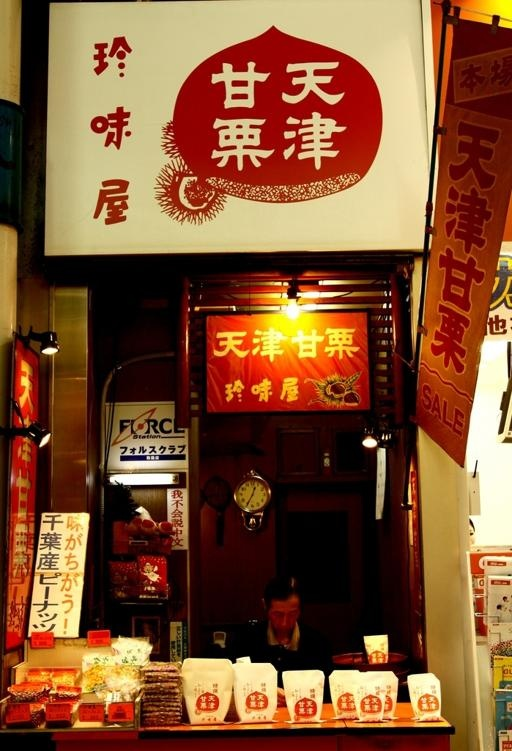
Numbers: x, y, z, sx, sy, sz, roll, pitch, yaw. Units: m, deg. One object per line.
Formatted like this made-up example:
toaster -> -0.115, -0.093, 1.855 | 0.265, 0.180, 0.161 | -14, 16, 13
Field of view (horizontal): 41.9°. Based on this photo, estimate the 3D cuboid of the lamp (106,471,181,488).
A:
lamp -> -0.890, 0.845, 5.385 | 0.589, 0.126, 0.083 | 1, -11, -12

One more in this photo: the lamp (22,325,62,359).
lamp -> -1.289, -0.197, 3.989 | 0.228, 0.184, 0.092 | -20, -25, 27

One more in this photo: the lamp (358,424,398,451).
lamp -> 0.871, 0.451, 4.760 | 0.220, 0.231, 0.418 | 0, -8, 0

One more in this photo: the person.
person -> 0.177, 1.685, 4.482 | 0.624, 0.641, 0.458 | -3, -11, 7

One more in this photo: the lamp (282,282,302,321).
lamp -> 0.238, -0.503, 4.404 | 0.106, 0.328, 0.329 | -2, -12, 4

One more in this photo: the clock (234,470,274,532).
clock -> -0.036, 1.267, 6.668 | 0.361, 0.586, 0.367 | -2, -11, 4
